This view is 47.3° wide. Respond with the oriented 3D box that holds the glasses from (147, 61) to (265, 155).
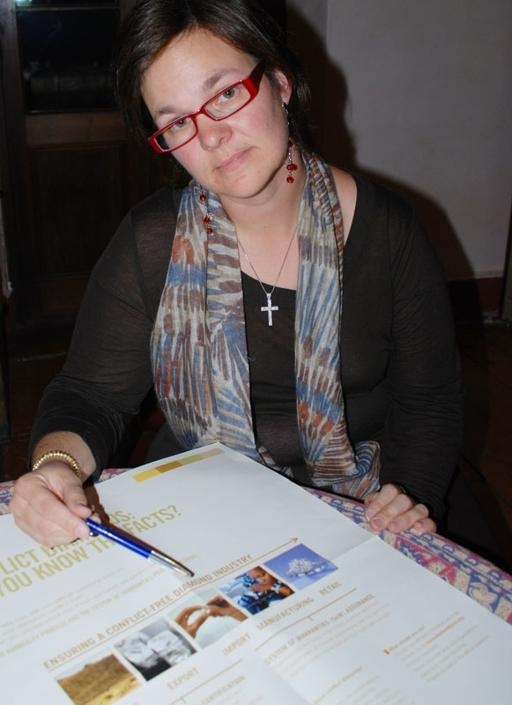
[{"bbox_3d":[-0.069,-0.355,0.848,0.163,0.118,0.077,-1,22,0],"label":"glasses"}]
